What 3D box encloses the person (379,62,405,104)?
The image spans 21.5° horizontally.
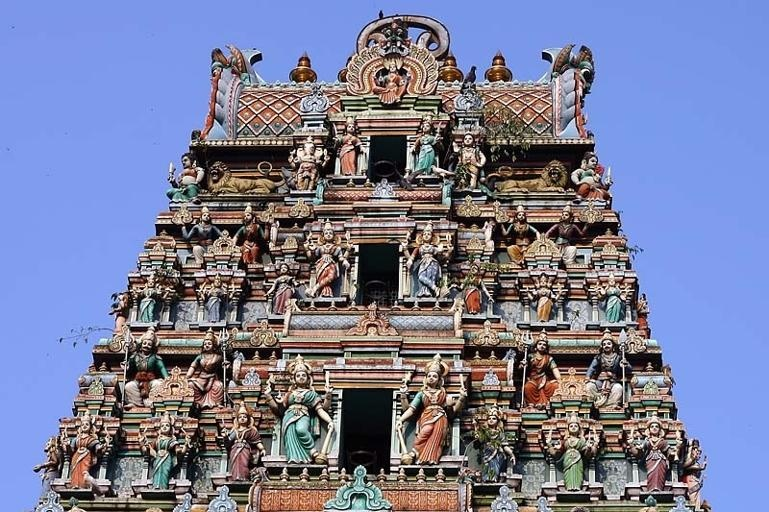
[{"bbox_3d":[0.292,-5.425,64.720,0.861,1.394,0.407,5,-34,-3],"label":"person"}]
